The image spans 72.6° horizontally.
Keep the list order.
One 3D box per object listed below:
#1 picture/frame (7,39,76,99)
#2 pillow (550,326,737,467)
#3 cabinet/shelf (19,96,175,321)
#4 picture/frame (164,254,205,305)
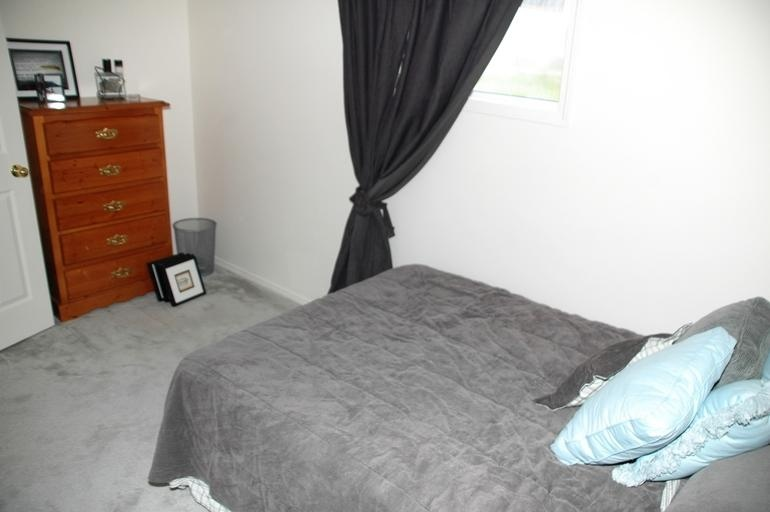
[{"bbox_3d":[-2.398,-1.320,3.707,0.390,0.388,0.217,-12,29,-29],"label":"picture/frame"},{"bbox_3d":[0.871,0.512,2.087,0.192,0.559,0.641,44,55,10],"label":"pillow"},{"bbox_3d":[-2.063,-0.367,3.873,0.316,1.453,0.981,24,32,37],"label":"cabinet/shelf"},{"bbox_3d":[-1.577,0.189,4.141,0.082,0.334,0.345,-9,4,38],"label":"picture/frame"}]
